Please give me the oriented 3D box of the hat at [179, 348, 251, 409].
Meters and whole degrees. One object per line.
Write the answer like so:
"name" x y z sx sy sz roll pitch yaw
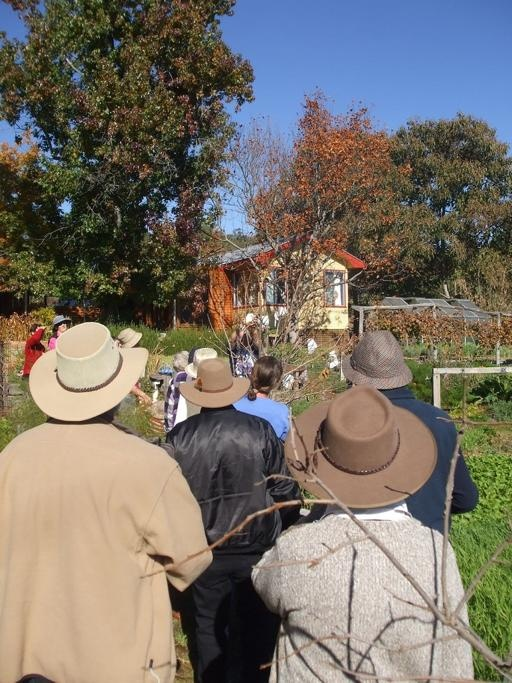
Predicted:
"hat" -0.220 0.227 3.354 0.329 0.135 0.309 -8 26 -9

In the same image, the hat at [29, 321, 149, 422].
"hat" -0.654 0.055 2.161 0.380 0.153 0.415 -5 43 -1

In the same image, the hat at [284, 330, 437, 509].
"hat" 0.338 0.268 1.736 0.412 0.133 0.451 23 46 26

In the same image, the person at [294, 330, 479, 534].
"person" 0.562 0.485 2.803 1.283 0.891 0.482 7 49 6
